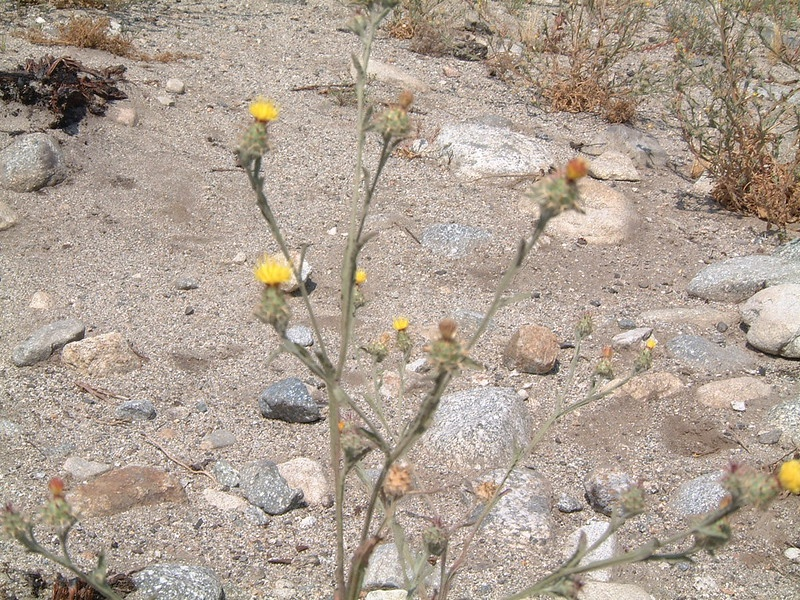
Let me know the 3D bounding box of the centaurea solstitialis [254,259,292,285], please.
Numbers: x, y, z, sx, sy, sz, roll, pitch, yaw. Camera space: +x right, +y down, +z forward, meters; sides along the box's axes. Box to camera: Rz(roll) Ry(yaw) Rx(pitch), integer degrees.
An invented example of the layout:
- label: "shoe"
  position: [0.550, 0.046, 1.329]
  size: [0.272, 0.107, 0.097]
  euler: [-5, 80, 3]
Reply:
- label: "centaurea solstitialis"
  position: [-0.592, -0.134, 4.242]
  size: [0.180, 0.071, 0.160]
  euler: [1, 62, -5]
